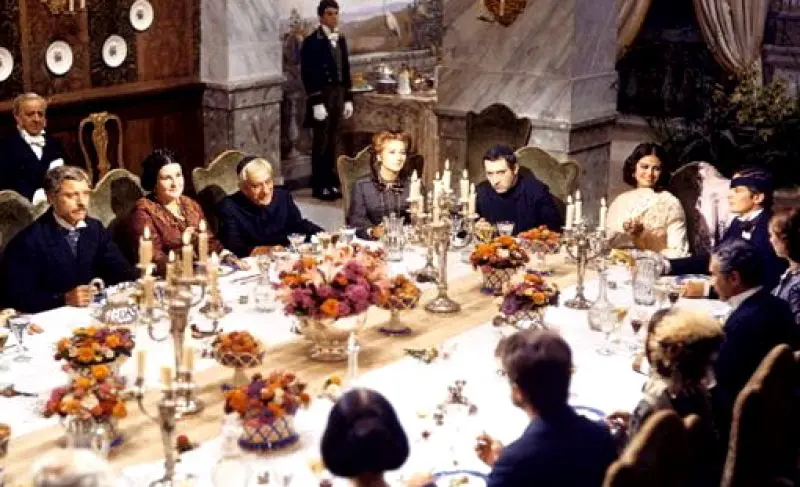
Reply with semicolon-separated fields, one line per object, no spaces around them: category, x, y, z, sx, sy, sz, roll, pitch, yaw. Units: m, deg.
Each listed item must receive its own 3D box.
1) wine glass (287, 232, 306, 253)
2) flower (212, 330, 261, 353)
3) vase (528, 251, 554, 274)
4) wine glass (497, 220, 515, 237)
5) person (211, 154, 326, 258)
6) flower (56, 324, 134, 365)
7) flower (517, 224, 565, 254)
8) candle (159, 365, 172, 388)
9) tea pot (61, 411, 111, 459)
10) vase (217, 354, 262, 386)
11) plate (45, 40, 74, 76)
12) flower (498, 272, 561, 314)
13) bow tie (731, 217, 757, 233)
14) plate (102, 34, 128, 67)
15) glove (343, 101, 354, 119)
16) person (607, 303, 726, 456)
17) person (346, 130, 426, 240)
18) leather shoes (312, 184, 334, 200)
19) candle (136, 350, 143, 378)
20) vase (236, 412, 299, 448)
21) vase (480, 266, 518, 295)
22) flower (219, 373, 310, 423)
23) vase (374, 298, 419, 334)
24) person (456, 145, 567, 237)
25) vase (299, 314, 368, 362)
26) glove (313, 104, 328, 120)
wine glass;-0.711;0.018;5.092;0.119;0.142;0.122;9;23;20
flower;-0.839;0.504;3.771;0.257;0.100;0.097;-3;4;3
vase;0.982;0.142;5.200;0.147;0.172;0.150;-1;6;-4
wine glass;0.733;-0.097;5.232;0.098;0.087;0.107;0;2;-16
person;-1.046;-0.135;5.954;0.750;1.051;0.725;-15;33;-26
flower;-1.486;0.501;3.618;0.330;0.165;0.300;-6;5;-37
flower;0.948;-0.014;5.026;0.208;0.107;0.223;0;4;-15
candle;-0.952;0.544;3.019;0.046;0.099;0.048;-3;4;-7
tea pot;-1.438;0.872;3.358;0.224;0.199;0.204;-3;4;-6
vase;-0.814;0.615;3.776;0.181;0.133;0.180;1;0;-12
plate;-3.429;-1.851;7.468;0.051;0.329;0.291;0;5;38
flower;0.702;0.252;4.271;0.235;0.128;0.252;-8;8;-10
bow tie;2.429;-0.132;5.278;0.083;0.043;0.103;1;-28;3
plate;-3.025;-2.020;7.862;0.069;0.325;0.275;0;5;34
glove;-0.698;-1.752;9.846;0.131;0.192;0.060;-1;4;-8
person;1.282;0.637;3.485;0.716;0.732;0.401;-15;16;-38
person;-0.115;-0.414;6.125;0.629;1.029;0.560;-8;14;-37
leather shoes;-1.061;-0.676;10.114;0.269;0.286;0.148;6;11;30
candle;-1.053;0.488;3.009;0.030;0.117;0.035;-5;4;-27
vase;-0.611;0.833;3.438;0.178;0.131;0.187;1;12;12
vase;0.624;0.235;4.814;0.199;0.151;0.183;-1;5;-15
flower;-0.609;0.698;3.362;0.228;0.164;0.296;3;9;-6
vase;-0.023;0.406;4.347;0.197;0.209;0.203;0;6;0
person;0.917;-0.396;6.136;0.785;0.782;0.505;6;25;27
vase;-0.375;0.507;4.033;0.280;0.213;0.288;2;4;41
glove;-1.046;-1.672;9.593;0.145;0.204;0.064;-2;7;-6
